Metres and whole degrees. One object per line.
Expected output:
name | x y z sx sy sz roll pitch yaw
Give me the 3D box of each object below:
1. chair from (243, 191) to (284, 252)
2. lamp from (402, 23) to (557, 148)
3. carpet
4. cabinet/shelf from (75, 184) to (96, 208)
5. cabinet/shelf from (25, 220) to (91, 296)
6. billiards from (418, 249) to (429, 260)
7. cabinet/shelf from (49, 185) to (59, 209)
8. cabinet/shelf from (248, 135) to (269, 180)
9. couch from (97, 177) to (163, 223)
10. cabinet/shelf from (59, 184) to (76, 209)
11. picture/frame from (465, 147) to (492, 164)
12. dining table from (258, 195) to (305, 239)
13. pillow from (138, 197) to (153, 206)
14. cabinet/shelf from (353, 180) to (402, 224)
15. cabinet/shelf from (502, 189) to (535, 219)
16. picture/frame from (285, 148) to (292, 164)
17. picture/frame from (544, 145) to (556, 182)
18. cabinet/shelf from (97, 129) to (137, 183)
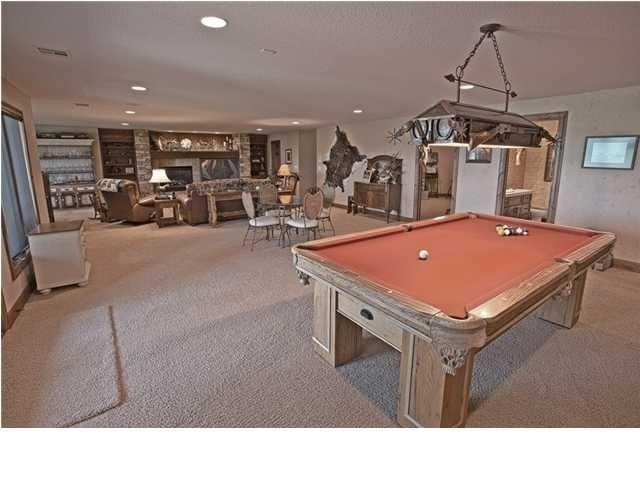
chair | -1.102 -0.445 7.068 0.626 0.895 1.365 -5 11 -11
lamp | 1.449 -1.333 3.500 1.406 1.008 0.697 -6 15 -33
carpet | -2.222 1.104 3.421 0.652 0.054 1.091 -7 25 -31
cabinet/shelf | -6.465 -1.228 10.982 0.423 0.618 0.551 -9 13 -29
cabinet/shelf | -3.208 0.195 4.903 0.590 0.784 0.488 -10 14 -34
billiards | 0.875 0.120 3.402 0.071 0.053 0.085 -29 17 -9
cabinet/shelf | -6.983 -1.141 10.509 0.197 0.624 0.713 -10 14 -33
cabinet/shelf | -2.199 -2.995 14.224 0.684 1.465 0.499 -7 13 -20
couch | -4.051 -0.800 8.360 1.140 0.944 0.805 4 13 30
cabinet/shelf | -6.822 -1.177 10.715 0.408 0.611 0.592 -11 14 -37
picture/frame | 2.790 -1.481 7.033 0.218 0.267 0.527 -5 11 -13
dining table | -0.767 -0.498 7.538 0.952 0.686 0.956 10 21 28
pillow | -3.650 -0.806 8.374 0.193 0.066 0.188 -7 19 -9
cabinet/shelf | 1.332 -0.912 9.140 0.515 0.827 1.226 -9 13 -29
cabinet/shelf | 3.565 -0.646 7.460 0.992 0.483 0.302 -11 15 -32
picture/frame | -1.026 -2.740 12.895 0.042 0.573 0.496 -8 13 -31
picture/frame | 4.510 -1.503 7.846 0.125 0.736 0.675 3 13 25
cabinet/shelf | -5.835 -2.459 11.489 0.935 1.433 0.304 -8 13 -26
